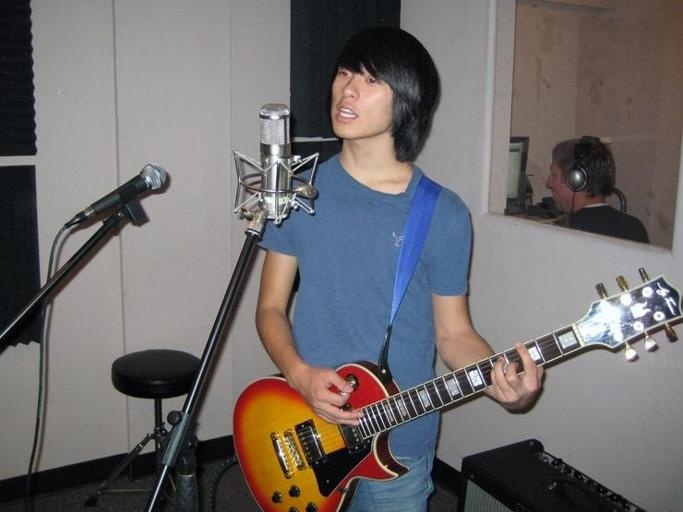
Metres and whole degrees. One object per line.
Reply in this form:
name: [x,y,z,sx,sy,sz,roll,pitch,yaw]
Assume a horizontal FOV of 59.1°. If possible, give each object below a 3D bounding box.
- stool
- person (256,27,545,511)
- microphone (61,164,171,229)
stool: [-1.045,0.919,3.224,0.626,0.833,0.496,5,9,33]
person: [0.097,-0.108,2.080,0.804,1.404,0.382,-1,7,-8]
microphone: [-1.103,-0.312,2.854,0.437,0.150,0.135,-34,-13,-21]
